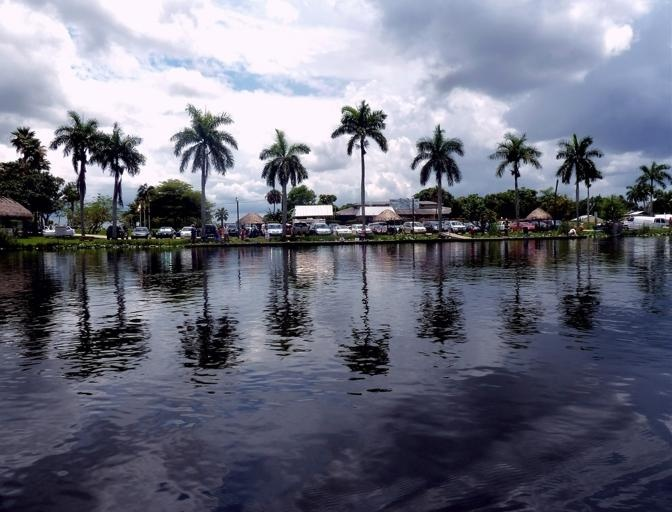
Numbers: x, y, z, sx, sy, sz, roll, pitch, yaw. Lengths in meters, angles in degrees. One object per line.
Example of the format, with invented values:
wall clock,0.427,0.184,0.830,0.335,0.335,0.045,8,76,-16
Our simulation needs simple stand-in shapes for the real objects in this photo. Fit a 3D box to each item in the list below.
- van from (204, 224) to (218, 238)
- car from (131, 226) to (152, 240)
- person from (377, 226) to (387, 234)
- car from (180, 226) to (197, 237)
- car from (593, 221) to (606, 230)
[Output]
van,-13.025,-2.449,63.731,1.377,1.249,2.448,0,13,-4
car,-20.479,-2.443,64.138,1.505,1.205,2.672,-1,-2,-11
person,5.378,-3.028,72.028,0.995,0.482,1.386,0,9,5
car,-15.639,-2.430,63.520,1.474,0.960,2.660,-1,2,-15
car,32.261,-3.634,74.995,1.862,0.825,2.626,2,6,32
